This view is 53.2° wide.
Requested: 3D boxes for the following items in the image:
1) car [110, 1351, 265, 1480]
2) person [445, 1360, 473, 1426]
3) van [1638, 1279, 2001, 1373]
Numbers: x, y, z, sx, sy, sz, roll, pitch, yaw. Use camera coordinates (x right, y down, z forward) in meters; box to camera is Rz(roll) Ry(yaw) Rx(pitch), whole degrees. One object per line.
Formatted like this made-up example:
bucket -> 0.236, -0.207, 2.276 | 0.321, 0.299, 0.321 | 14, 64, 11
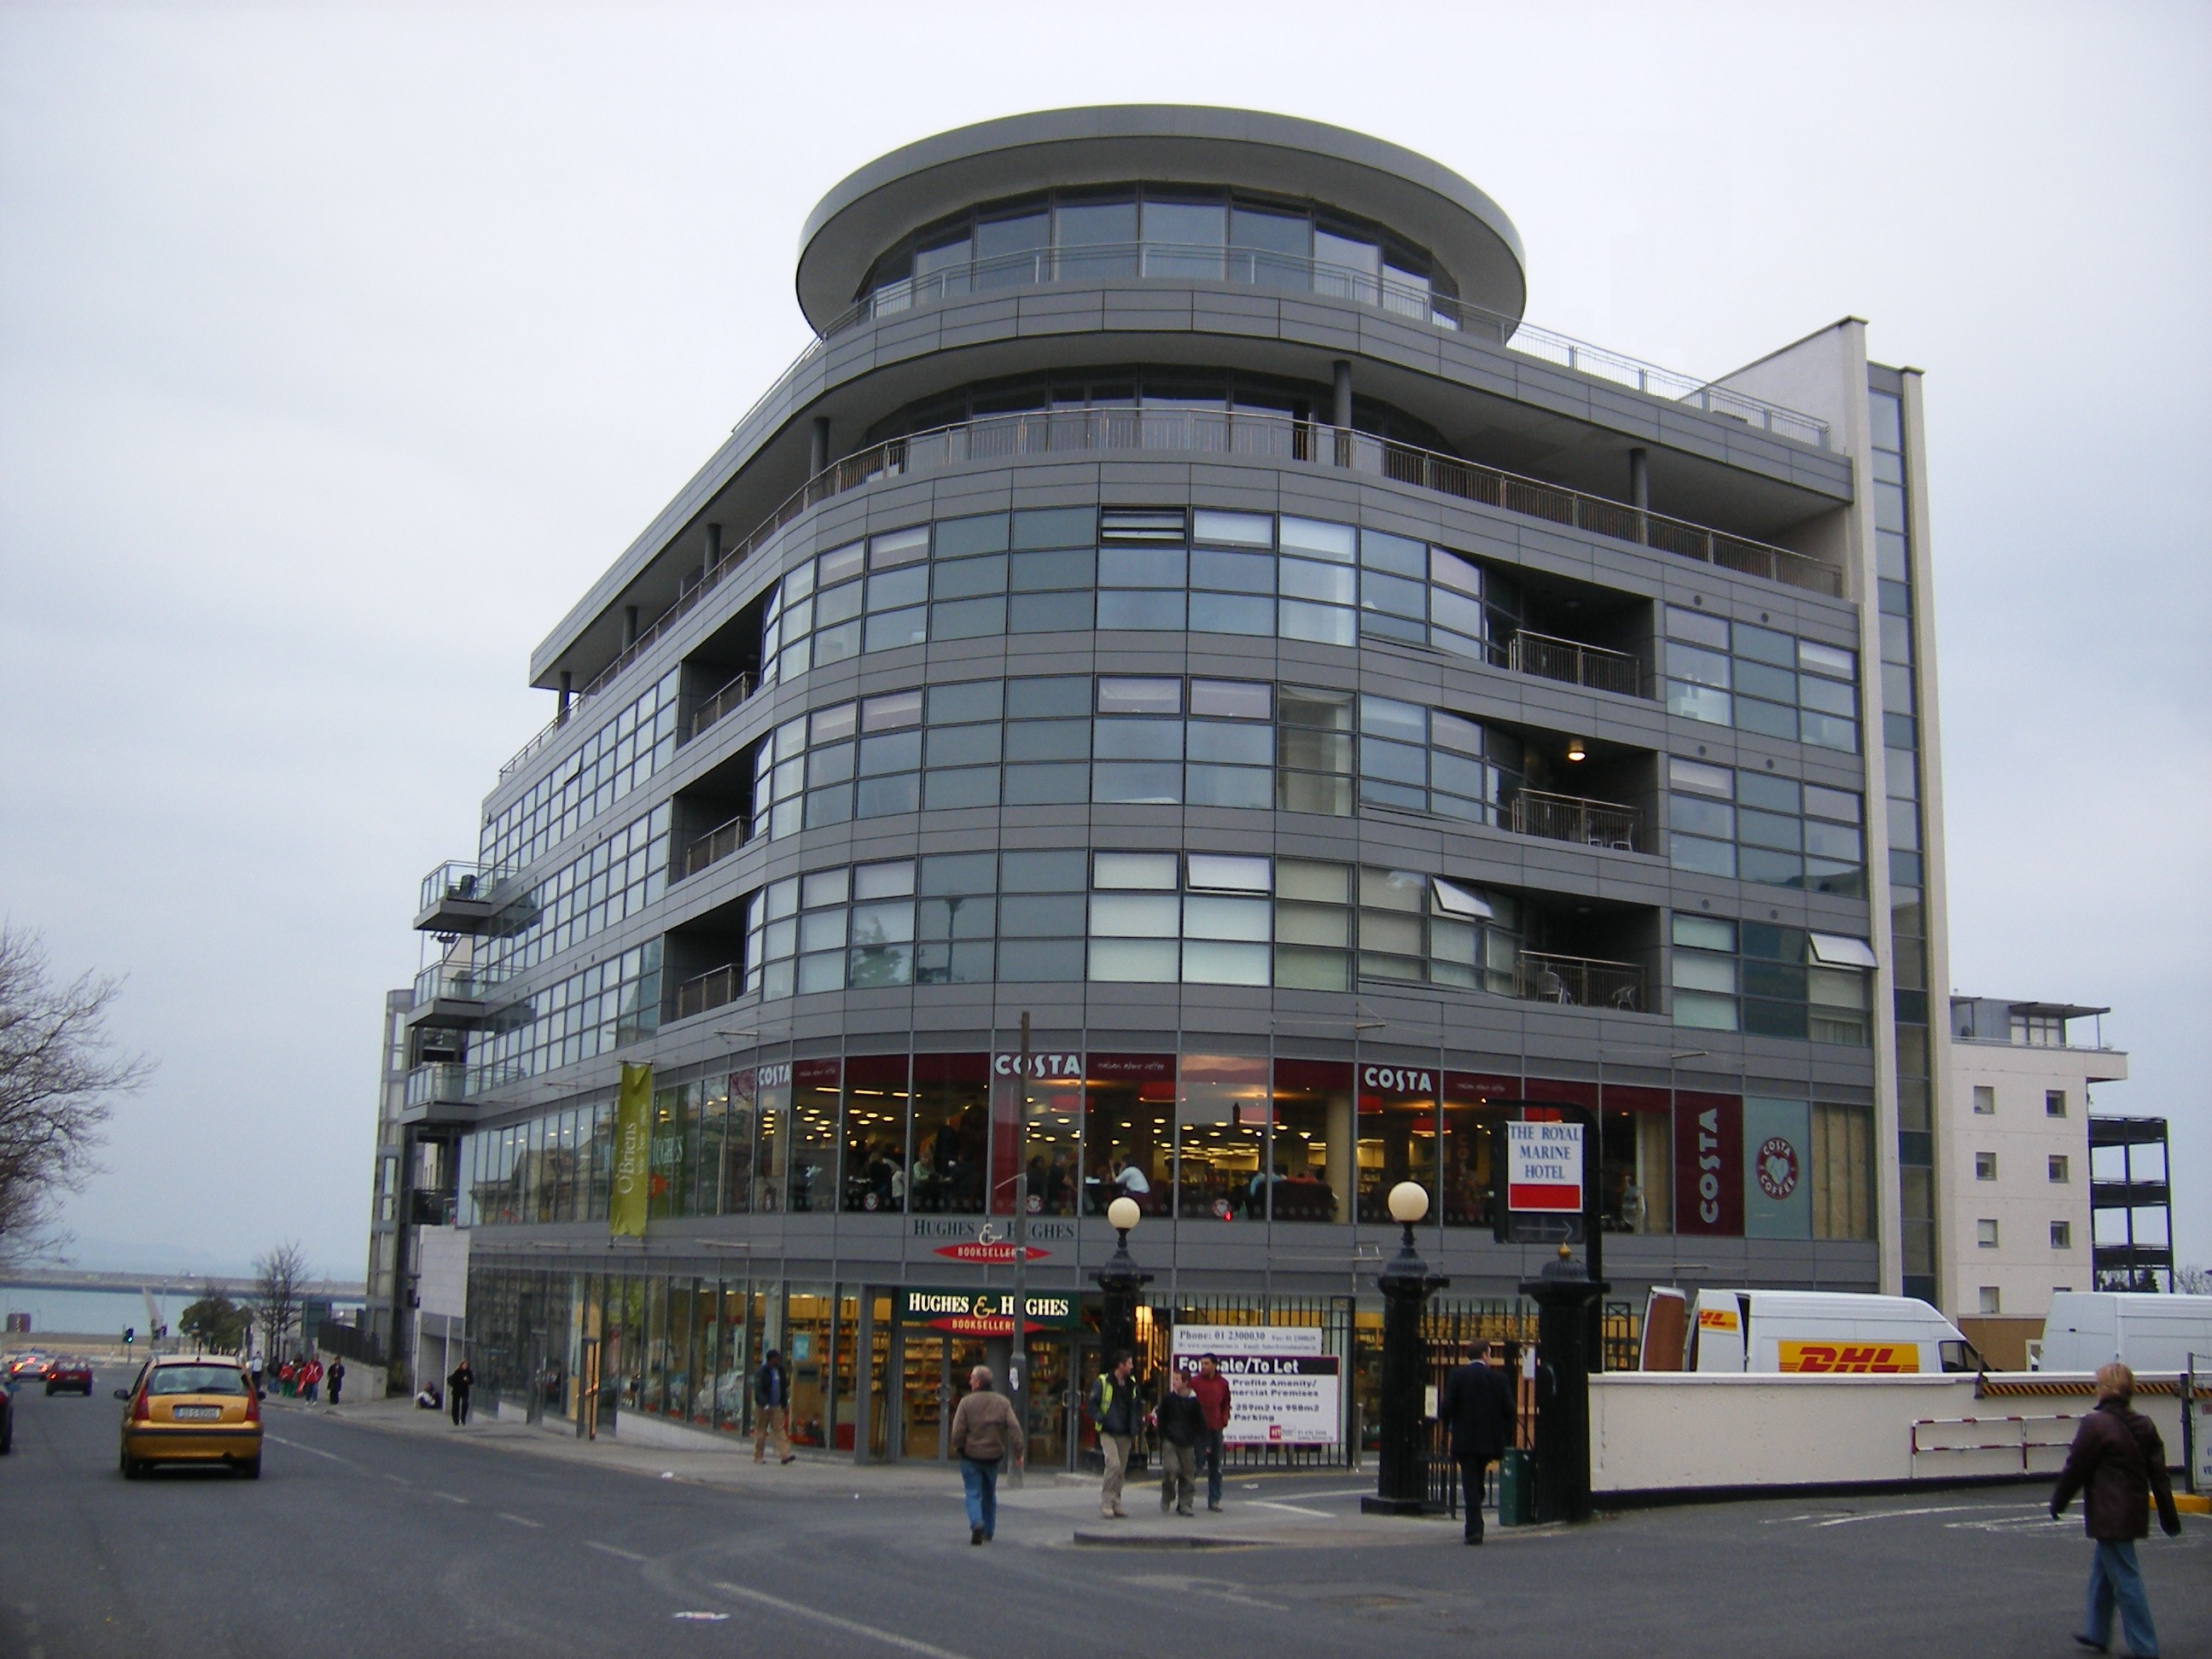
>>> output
car -> -13.252, 8.343, 31.977 | 1.832, 1.488, 0.805 | 4, -17, -13
person -> -17.034, 14.822, 57.988 | 0.442, 1.482, 1.761 | 3, -16, -10
van -> 11.352, 8.011, 35.125 | 3.722, 1.701, 2.156 | 0, -5, -9
